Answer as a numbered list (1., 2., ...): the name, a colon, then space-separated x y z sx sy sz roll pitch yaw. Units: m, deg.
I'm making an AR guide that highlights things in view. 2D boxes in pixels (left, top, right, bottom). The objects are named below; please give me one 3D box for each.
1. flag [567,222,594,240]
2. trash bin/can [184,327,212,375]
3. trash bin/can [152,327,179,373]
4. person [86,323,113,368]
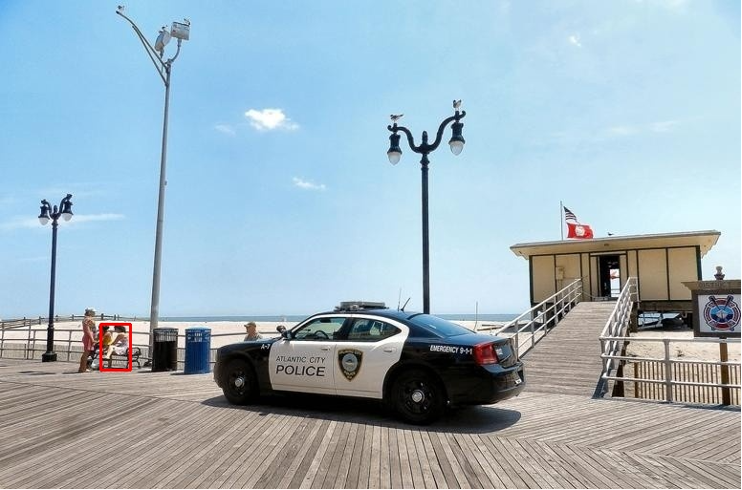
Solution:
1. flag: 9.977 -0.632 29.930 1.377 1.101 0.210 0 -1 -6
2. trash bin/can: -4.909 3.092 17.772 0.813 1.395 0.827 -1 -7 -7
3. trash bin/can: -6.009 3.049 18.197 0.713 1.247 0.545 -1 4 -24
4. person: -8.183 2.972 18.924 0.630 1.215 0.516 8 13 2
